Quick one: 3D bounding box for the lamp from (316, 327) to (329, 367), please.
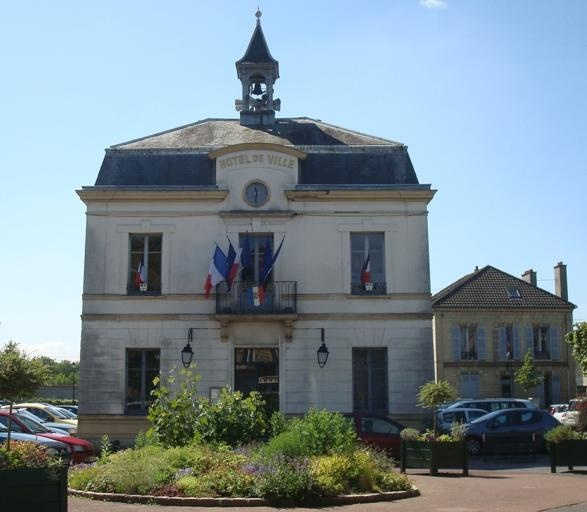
[{"bbox_3d":[0.955,3.040,41.000,0.379,1.298,0.311,0,-10,1],"label":"lamp"}]

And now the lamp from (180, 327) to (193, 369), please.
[{"bbox_3d":[-3.467,3.035,40.930,0.380,1.305,0.332,1,-10,-5],"label":"lamp"}]

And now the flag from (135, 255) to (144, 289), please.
[{"bbox_3d":[-5.131,0.569,41.636,0.265,1.078,0.405,6,-11,-28],"label":"flag"}]

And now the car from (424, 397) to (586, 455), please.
[{"bbox_3d":[7.111,5.697,41.215,2.977,1.291,1.784,2,-11,-2],"label":"car"}]
